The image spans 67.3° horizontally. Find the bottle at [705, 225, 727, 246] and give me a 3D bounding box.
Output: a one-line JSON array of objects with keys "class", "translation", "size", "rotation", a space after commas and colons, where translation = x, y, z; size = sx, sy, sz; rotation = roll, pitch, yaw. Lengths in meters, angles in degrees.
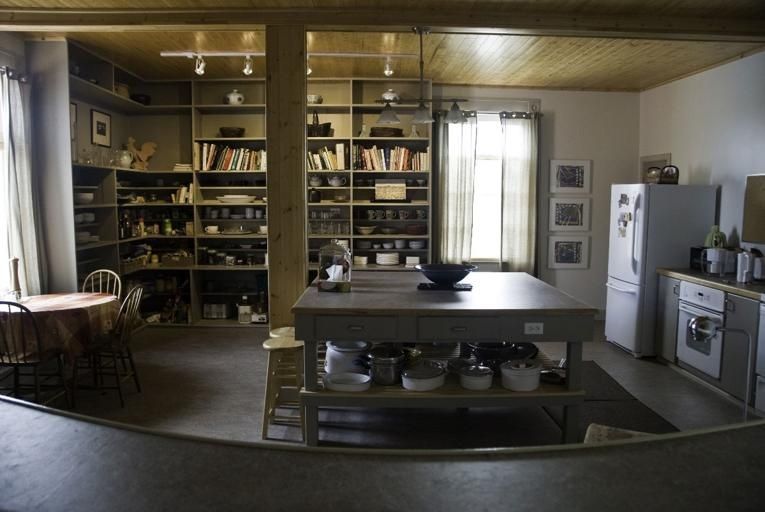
[{"class": "bottle", "translation": [3.505, -0.201, 5.995], "size": [0.263, 0.221, 0.264], "rotation": [1, 0, 41]}]

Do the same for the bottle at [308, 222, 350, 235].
[{"class": "bottle", "translation": [-0.675, -0.353, 7.489], "size": [0.529, 0.187, 0.161], "rotation": [-2, 6, -5]}]

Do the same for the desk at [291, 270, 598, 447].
[{"class": "desk", "translation": [0.451, 0.791, 4.341], "size": [2.094, 1.115, 0.744], "rotation": [-2, 6, 0]}]

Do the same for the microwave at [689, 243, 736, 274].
[{"class": "microwave", "translation": [3.388, 0.043, 5.883], "size": [0.369, 0.237, 0.438], "rotation": [0, 2, -1]}]

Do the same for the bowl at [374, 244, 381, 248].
[{"class": "bowl", "translation": [-0.057, -0.120, 7.551], "size": [0.072, 0.033, 0.061], "rotation": [0, 0, -8]}]

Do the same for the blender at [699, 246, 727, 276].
[{"class": "blender", "translation": [3.383, 0.055, 5.856], "size": [0.170, 0.268, 0.333], "rotation": [-1, 5, 11]}]

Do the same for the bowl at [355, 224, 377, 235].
[{"class": "bowl", "translation": [-0.197, -0.334, 7.604], "size": [0.223, 0.124, 0.290], "rotation": [2, 6, 40]}]

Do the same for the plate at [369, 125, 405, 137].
[{"class": "plate", "translation": [0.047, -1.574, 7.355], "size": [0.243, 0.053, 0.217], "rotation": [0, 2, 25]}]

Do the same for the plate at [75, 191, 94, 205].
[{"class": "plate", "translation": [-3.370, -0.638, 6.443], "size": [0.215, 0.102, 0.201], "rotation": [-1, 1, 34]}]

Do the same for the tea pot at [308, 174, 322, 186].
[{"class": "tea pot", "translation": [-0.888, -0.982, 7.549], "size": [0.178, 0.125, 0.222], "rotation": [-8, 11, -18]}]

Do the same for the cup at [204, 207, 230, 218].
[{"class": "cup", "translation": [-2.215, -0.580, 7.768], "size": [0.360, 0.112, 0.171], "rotation": [0, 4, -4]}]

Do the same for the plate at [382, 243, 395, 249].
[{"class": "plate", "translation": [0.087, -0.131, 7.547], "size": [0.142, 0.089, 0.091], "rotation": [-5, 6, -33]}]

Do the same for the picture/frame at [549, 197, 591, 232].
[{"class": "picture/frame", "translation": [2.614, -0.591, 8.008], "size": [0.667, 0.405, 0.058], "rotation": [0, 5, -1]}]

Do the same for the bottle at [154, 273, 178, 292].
[{"class": "bottle", "translation": [-2.863, 0.362, 7.747], "size": [0.424, 0.258, 0.197], "rotation": [0, -2, -5]}]

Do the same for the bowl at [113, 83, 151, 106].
[{"class": "bowl", "translation": [-3.150, -2.012, 7.195], "size": [0.363, 0.121, 0.390], "rotation": [-1, -4, 0]}]

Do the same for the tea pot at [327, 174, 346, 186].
[{"class": "tea pot", "translation": [-0.549, -0.987, 7.521], "size": [0.261, 0.114, 0.196], "rotation": [-1, 1, -42]}]

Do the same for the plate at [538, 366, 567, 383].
[{"class": "plate", "translation": [1.252, 0.871, 4.195], "size": [0.185, 0.057, 0.208], "rotation": [1, 2, 18]}]

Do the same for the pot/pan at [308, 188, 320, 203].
[{"class": "pot/pan", "translation": [-0.874, -0.781, 7.473], "size": [0.157, 0.188, 0.175], "rotation": [-3, 6, -5]}]

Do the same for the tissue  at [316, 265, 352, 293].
[{"class": "tissue ", "translation": [-0.357, 0.177, 4.391], "size": [0.278, 0.124, 0.232], "rotation": [1, 2, 4]}]

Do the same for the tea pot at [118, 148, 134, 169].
[{"class": "tea pot", "translation": [-3.228, -1.196, 7.249], "size": [0.105, 0.224, 0.246], "rotation": [-3, 6, -5]}]

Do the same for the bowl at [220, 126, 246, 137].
[{"class": "bowl", "translation": [-1.994, -1.635, 7.662], "size": [0.324, 0.157, 0.299], "rotation": [-2, 5, 0]}]

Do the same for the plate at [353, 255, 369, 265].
[{"class": "plate", "translation": [-0.270, 0.060, 7.563], "size": [0.153, 0.068, 0.136], "rotation": [1, 1, 24]}]

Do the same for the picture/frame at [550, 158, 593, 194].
[{"class": "picture/frame", "translation": [2.622, -1.119, 7.972], "size": [0.671, 0.398, 0.058], "rotation": [-1, 6, -1]}]

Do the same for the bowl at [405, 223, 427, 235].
[{"class": "bowl", "translation": [0.480, -0.345, 7.600], "size": [0.267, 0.134, 0.269], "rotation": [-2, 5, 0]}]

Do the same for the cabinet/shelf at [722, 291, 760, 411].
[{"class": "cabinet/shelf", "translation": [3.221, 0.838, 5.159], "size": [0.144, 0.968, 0.404], "rotation": [-2, 6, 3]}]

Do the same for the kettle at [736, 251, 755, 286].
[{"class": "kettle", "translation": [3.449, 0.109, 5.435], "size": [0.131, 0.279, 0.231], "rotation": [1, 7, 30]}]

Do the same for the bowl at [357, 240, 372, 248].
[{"class": "bowl", "translation": [-0.219, -0.157, 7.519], "size": [0.133, 0.060, 0.127], "rotation": [0, 1, 0]}]

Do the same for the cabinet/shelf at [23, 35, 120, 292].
[{"class": "cabinet/shelf", "translation": [-3.462, -0.928, 6.098], "size": [0.477, 2.642, 0.228], "rotation": [-5, 7, -21]}]

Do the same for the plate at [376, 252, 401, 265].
[{"class": "plate", "translation": [0.076, 0.039, 7.572], "size": [0.302, 0.169, 0.205], "rotation": [-2, 5, -1]}]

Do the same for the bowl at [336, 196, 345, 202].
[{"class": "bowl", "translation": [-0.542, -0.757, 7.613], "size": [0.161, 0.094, 0.232], "rotation": [-2, 5, -4]}]

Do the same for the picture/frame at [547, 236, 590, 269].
[{"class": "picture/frame", "translation": [2.603, -0.065, 8.043], "size": [0.657, 0.388, 0.060], "rotation": [0, 7, -2]}]
